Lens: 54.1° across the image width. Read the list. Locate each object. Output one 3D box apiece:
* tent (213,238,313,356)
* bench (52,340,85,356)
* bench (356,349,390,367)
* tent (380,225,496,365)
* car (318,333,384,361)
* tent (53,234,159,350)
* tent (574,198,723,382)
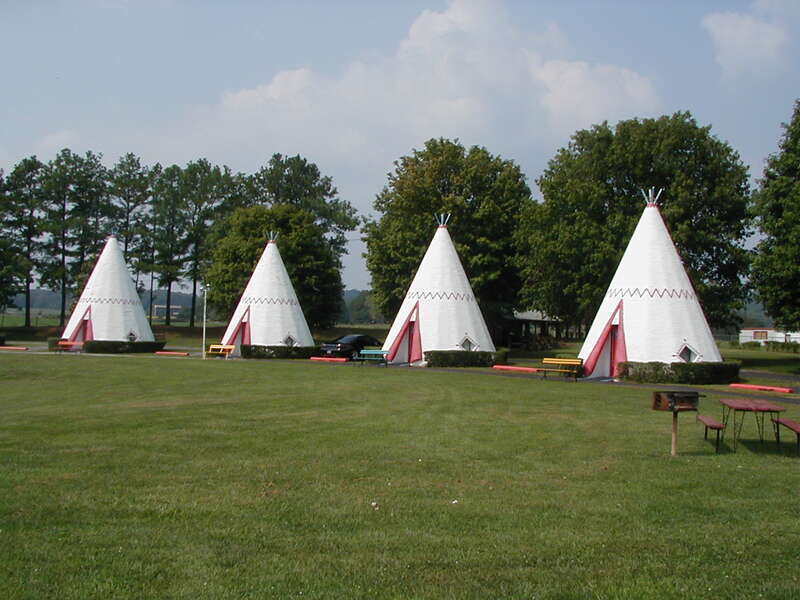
[{"bbox_3d":[-6.222,0.212,37.674,3.667,4.761,2.705,1,4,1],"label":"tent"},{"bbox_3d":[-15.952,2.240,37.664,0.652,0.611,1.603,-3,-8,-1],"label":"bench"},{"bbox_3d":[-1.100,2.316,31.975,1.001,0.730,3.007,0,3,-8],"label":"bench"},{"bbox_3d":[1.692,0.178,36.215,4.507,6.849,5.893,2,-10,2],"label":"tent"},{"bbox_3d":[-2.229,2.079,35.639,1.167,0.835,2.605,-4,-8,28],"label":"car"},{"bbox_3d":[-15.193,-0.485,41.002,4.712,5.854,7.392,-1,4,-23],"label":"tent"},{"bbox_3d":[8.981,-0.106,28.272,4.003,5.813,2.605,2,4,24],"label":"tent"}]
